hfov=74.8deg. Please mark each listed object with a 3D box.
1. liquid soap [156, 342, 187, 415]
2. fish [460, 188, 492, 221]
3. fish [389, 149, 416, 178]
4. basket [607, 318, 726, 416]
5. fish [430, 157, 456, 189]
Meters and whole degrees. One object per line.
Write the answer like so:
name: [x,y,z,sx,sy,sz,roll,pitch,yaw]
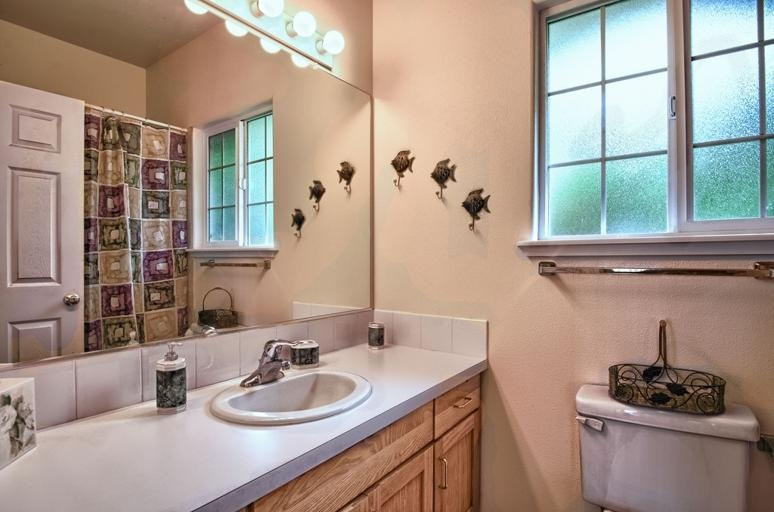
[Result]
liquid soap: [-0.827,0.464,1.912,0.114,0.255,0.061,-2,2,-9]
fish: [0.447,-0.255,2.498,0.167,0.142,0.022,1,-4,42]
fish: [0.083,-0.500,2.718,0.137,0.131,0.044,4,6,41]
basket: [1.169,0.467,2.079,0.393,0.326,0.167,-1,-5,37]
fish: [0.288,-0.421,2.592,0.134,0.146,0.015,-1,2,34]
